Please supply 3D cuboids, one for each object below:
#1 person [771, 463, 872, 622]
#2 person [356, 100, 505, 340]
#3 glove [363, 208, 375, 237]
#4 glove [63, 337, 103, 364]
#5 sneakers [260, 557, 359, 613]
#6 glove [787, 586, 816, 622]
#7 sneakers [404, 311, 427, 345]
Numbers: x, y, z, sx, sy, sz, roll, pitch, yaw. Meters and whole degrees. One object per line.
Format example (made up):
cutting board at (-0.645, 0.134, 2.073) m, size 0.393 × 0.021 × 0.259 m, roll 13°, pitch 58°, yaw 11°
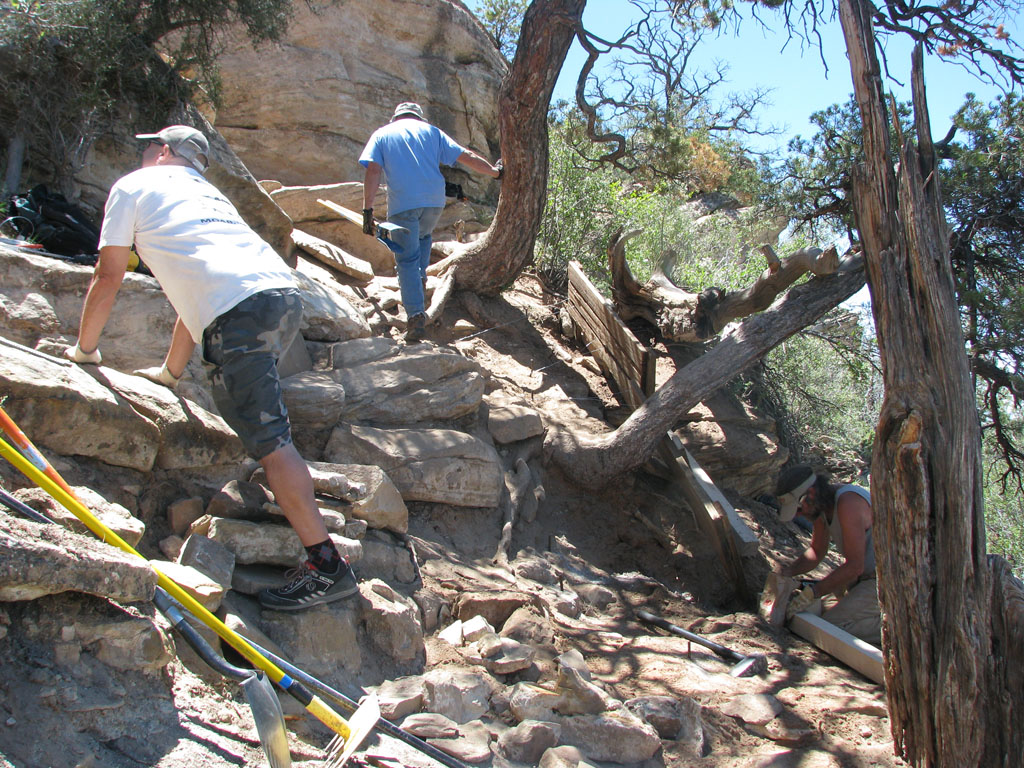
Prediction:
person at (2.370, 1.150, 7.239) m, size 0.825 × 1.054 × 0.832 m, roll -7°, pitch 3°, yaw 41°
person at (-0.832, -1.477, 8.546) m, size 0.836 × 2.044 × 1.030 m, roll 5°, pitch 0°, yaw 22°
glove at (-1.252, -1.413, 8.392) m, size 0.070 × 0.105 × 0.275 m, roll 6°, pitch -39°, yaw 1°
glove at (-2.559, -0.196, 5.782) m, size 0.205 × 0.115 × 0.091 m, roll 12°, pitch -47°, yaw -14°
sneakers at (-1.121, 1.129, 5.398) m, size 0.598 × 0.275 × 0.220 m, roll -1°, pitch -8°, yaw -14°
glove at (2.082, 1.573, 6.916) m, size 0.203 × 0.215 × 0.065 m, roll -1°, pitch 5°, yaw -5°
sneakers at (-0.878, -0.498, 8.743) m, size 0.209 × 0.283 × 0.359 m, roll -1°, pitch -21°, yaw -18°
